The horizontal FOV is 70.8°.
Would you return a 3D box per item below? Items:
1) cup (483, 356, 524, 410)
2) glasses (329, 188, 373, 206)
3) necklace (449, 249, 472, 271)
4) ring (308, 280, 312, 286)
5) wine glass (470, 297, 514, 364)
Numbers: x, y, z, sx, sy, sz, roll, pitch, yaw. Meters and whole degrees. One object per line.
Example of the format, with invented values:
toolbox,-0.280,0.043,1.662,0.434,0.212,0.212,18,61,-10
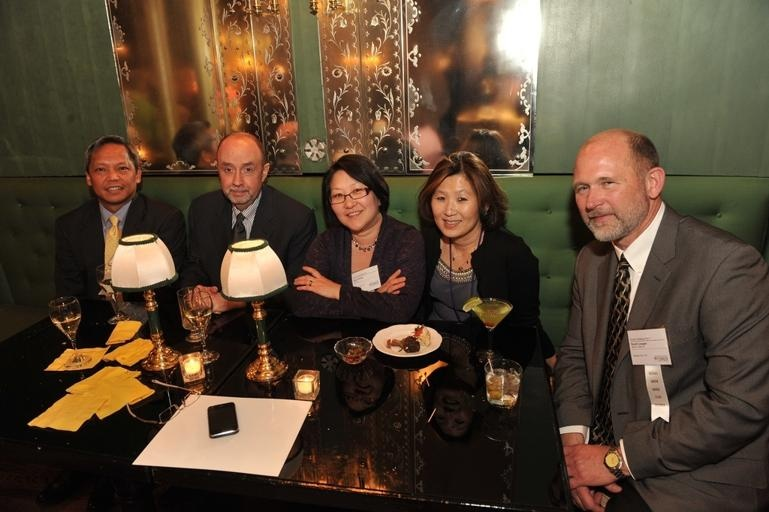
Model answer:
cup,0.557,0.595,2.525,0.156,0.135,0.186,0,1,1
glasses,-0.205,-0.372,3.393,0.244,0.091,0.054,-3,23,-3
necklace,0.486,0.029,3.471,0.128,0.093,0.127,0,5,1
ring,-0.438,0.162,3.190,0.029,0.027,0.007,-1,-16,6
wine glass,0.532,0.376,2.750,0.264,0.308,0.273,0,11,1
